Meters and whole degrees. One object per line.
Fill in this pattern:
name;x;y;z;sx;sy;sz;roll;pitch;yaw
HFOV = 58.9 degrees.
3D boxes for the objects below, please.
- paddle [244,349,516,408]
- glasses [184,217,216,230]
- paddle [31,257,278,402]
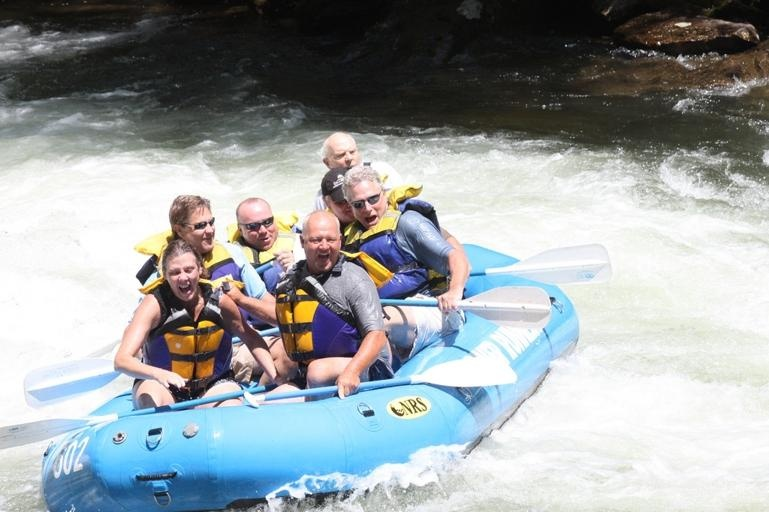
paddle;-0.057;0.939;5.158;2.237;0.104;0.410;-5;29;-10
glasses;-1.431;-0.257;5.454;0.070;0.076;0.211;4;14;34
paddle;-1.896;0.734;5.540;1.859;0.303;0.956;-26;56;-21
